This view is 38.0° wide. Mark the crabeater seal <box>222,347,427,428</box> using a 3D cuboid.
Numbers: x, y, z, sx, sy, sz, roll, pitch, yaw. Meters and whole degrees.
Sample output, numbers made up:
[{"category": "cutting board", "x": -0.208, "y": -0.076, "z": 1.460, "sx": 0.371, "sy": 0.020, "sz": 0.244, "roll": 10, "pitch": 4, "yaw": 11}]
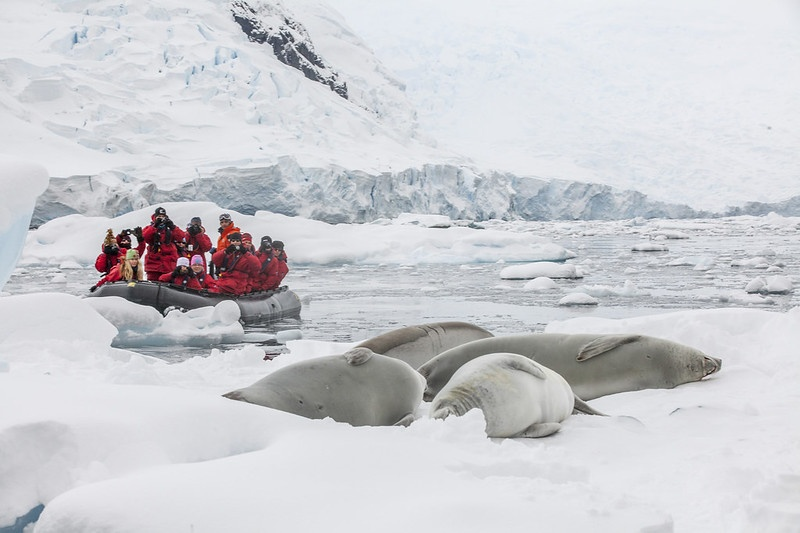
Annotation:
[{"category": "crabeater seal", "x": -3.352, "y": 6.912, "z": 62.309, "sx": 10.618, "sy": 4.098, "sz": 6.206, "roll": -6, "pitch": 30, "yaw": -12}]

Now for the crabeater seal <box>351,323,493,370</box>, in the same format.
[{"category": "crabeater seal", "x": 1.450, "y": 4.094, "z": 64.673, "sx": 5.608, "sy": 1.193, "sz": 3.359, "roll": -8, "pitch": 24, "yaw": -13}]

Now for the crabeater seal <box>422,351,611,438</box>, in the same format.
[{"category": "crabeater seal", "x": 5.564, "y": 7.015, "z": 62.013, "sx": 6.449, "sy": 3.864, "sz": 2.321, "roll": 6, "pitch": 26, "yaw": -2}]

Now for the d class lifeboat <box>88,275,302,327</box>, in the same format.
[{"category": "d class lifeboat", "x": -11.463, "y": 2.068, "z": 68.660, "sx": 11.357, "sy": 2.080, "sz": 1.990, "roll": 2, "pitch": 25, "yaw": -10}]
